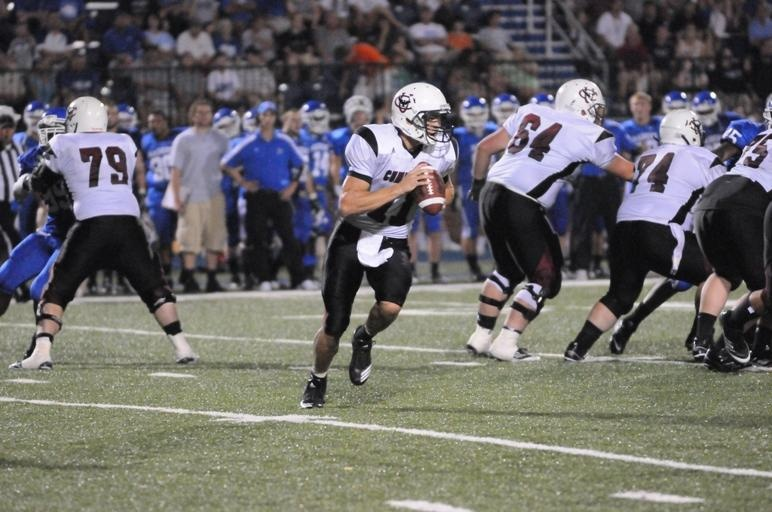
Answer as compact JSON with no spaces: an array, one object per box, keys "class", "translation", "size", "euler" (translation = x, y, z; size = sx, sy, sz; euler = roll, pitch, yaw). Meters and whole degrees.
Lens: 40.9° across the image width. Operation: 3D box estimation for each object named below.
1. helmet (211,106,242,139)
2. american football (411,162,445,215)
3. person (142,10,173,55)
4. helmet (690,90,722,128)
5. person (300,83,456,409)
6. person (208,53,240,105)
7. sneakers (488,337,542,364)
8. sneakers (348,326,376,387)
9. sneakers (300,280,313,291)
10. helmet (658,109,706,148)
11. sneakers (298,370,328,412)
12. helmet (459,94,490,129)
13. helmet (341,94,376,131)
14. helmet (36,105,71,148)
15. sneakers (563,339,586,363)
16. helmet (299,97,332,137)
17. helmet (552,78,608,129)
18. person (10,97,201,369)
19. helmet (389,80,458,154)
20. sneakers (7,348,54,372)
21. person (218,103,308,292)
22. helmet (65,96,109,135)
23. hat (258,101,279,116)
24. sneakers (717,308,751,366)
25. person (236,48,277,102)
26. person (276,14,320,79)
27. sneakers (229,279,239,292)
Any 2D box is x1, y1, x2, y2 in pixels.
[{"class":"helmet","translation":[-2.046,-1.674,13.184],"size":[0.383,0.443,0.498],"euler":[-5,-2,-20]},{"class":"american football","translation":[0.288,-0.422,6.562],"size":[0.210,0.329,0.201],"euler":[2,6,-9]},{"class":"person","translation":[-3.682,-3.590,16.855],"size":[0.509,0.694,1.034],"euler":[1,6,-12]},{"class":"helmet","translation":[3.744,-1.733,12.173],"size":[0.334,0.396,0.433],"euler":[-9,-6,12]},{"class":"person","translation":[-0.053,-0.066,6.809],"size":[0.934,2.136,0.624],"euler":[3,6,2]},{"class":"person","translation":[-2.391,-2.533,15.273],"size":[0.530,0.823,0.454],"euler":[-7,3,2]},{"class":"sneakers","translation":[0.978,0.755,8.167],"size":[0.476,0.213,0.156],"euler":[0,5,-4]},{"class":"sneakers","translation":[-0.134,0.704,7.144],"size":[0.151,0.419,0.196],"euler":[0,5,-27]},{"class":"sneakers","translation":[-0.995,0.380,13.138],"size":[0.144,0.126,0.137],"euler":[5,-17,-6]},{"class":"helmet","translation":[2.346,-1.003,8.257],"size":[0.429,0.332,0.308],"euler":[1,5,-30]},{"class":"sneakers","translation":[-0.471,0.888,6.819],"size":[0.140,0.251,0.379],"euler":[3,5,1]},{"class":"helmet","translation":[1.162,-1.882,13.698],"size":[0.380,0.393,0.433],"euler":[-5,9,-2]},{"class":"helmet","translation":[-0.387,-1.893,13.735],"size":[0.419,0.488,0.504],"euler":[1,-4,-4]},{"class":"helmet","translation":[-2.692,-1.060,8.566],"size":[0.336,0.317,0.257],"euler":[2,-3,-18]},{"class":"sneakers","translation":[1.440,0.746,8.031],"size":[0.083,0.102,0.249],"euler":[11,-7,38]},{"class":"helmet","translation":[-0.965,-1.859,13.886],"size":[0.392,0.448,0.475],"euler":[-11,13,-22]},{"class":"helmet","translation":[1.504,-1.244,8.320],"size":[0.417,0.361,0.321],"euler":[1,7,-14]},{"class":"person","translation":[-2.189,-0.045,8.052],"size":[1.172,1.785,0.382],"euler":[1,6,-18]},{"class":"helmet","translation":[0.214,-0.942,6.815],"size":[0.438,0.329,0.315],"euler":[12,15,10]},{"class":"sneakers","translation":[-2.716,0.788,7.957],"size":[0.335,0.170,0.299],"euler":[2,6,-1]},{"class":"person","translation":[-1.414,-0.541,12.413],"size":[0.663,2.034,1.230],"euler":[4,6,17]},{"class":"helmet","translation":[-2.361,-1.109,8.267],"size":[0.303,0.308,0.379],"euler":[-1,9,-39]},{"class":"hat","translation":[-1.335,-1.642,11.593],"size":[0.202,0.151,0.362],"euler":[2,6,-10]},{"class":"sneakers","translation":[2.523,0.605,7.594],"size":[0.167,0.442,0.192],"euler":[-9,-8,6]},{"class":"person","translation":[-1.997,-2.621,15.610],"size":[0.711,0.934,0.282],"euler":[-6,11,-21]},{"class":"person","translation":[-1.418,-3.335,17.023],"size":[0.647,1.393,0.825],"euler":[-5,-3,-11]},{"class":"sneakers","translation":[-1.948,0.386,13.334],"size":[0.080,0.076,0.237],"euler":[-25,12,-22]}]
